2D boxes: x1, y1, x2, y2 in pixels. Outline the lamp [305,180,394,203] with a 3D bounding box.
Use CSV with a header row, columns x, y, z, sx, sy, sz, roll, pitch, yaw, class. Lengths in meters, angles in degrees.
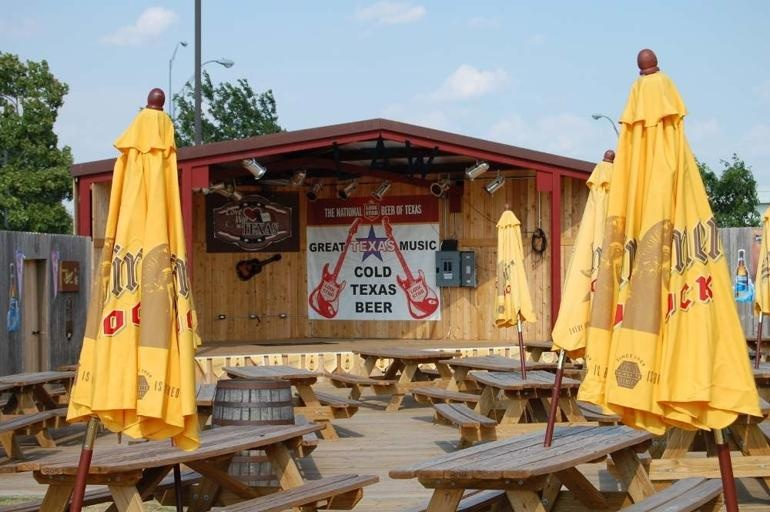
x,y,z,sx,sy,sz,roll,pitch,yaw,class
-1.966,-3.625,74.780,4.572,1.017,1.092,-1,-7,7,lamp
